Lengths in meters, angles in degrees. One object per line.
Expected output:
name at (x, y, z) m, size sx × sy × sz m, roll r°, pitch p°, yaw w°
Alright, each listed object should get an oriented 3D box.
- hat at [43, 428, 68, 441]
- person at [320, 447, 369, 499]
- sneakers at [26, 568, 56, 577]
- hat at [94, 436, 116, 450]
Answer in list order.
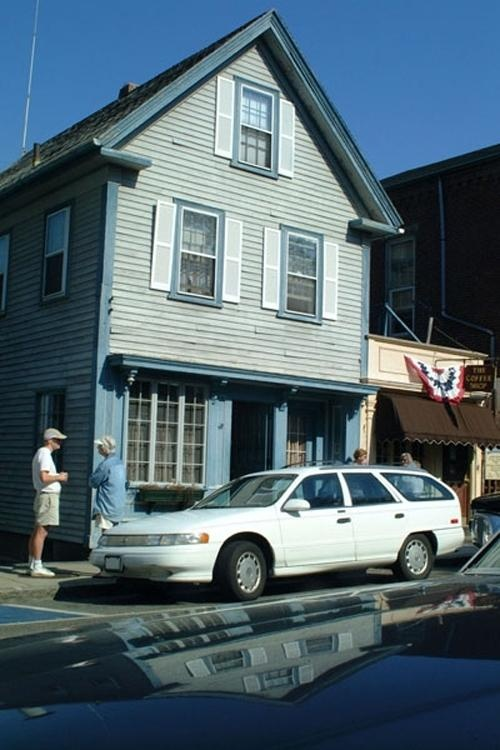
hat at (-2.805, 0.862, 10.697) m, size 0.432 × 0.235 × 0.328 m, roll 2°, pitch -1°, yaw -15°
person at (1.908, 1.972, 14.743) m, size 0.761 × 1.084 × 1.149 m, roll 1°, pitch 1°, yaw 5°
sneakers at (-2.848, 2.695, 10.257) m, size 0.397 × 0.168 × 0.144 m, roll 3°, pitch -4°, yaw -4°
hat at (-2.105, 0.952, 10.737) m, size 0.312 × 0.167 × 0.225 m, roll 11°, pitch 2°, yaw 24°
